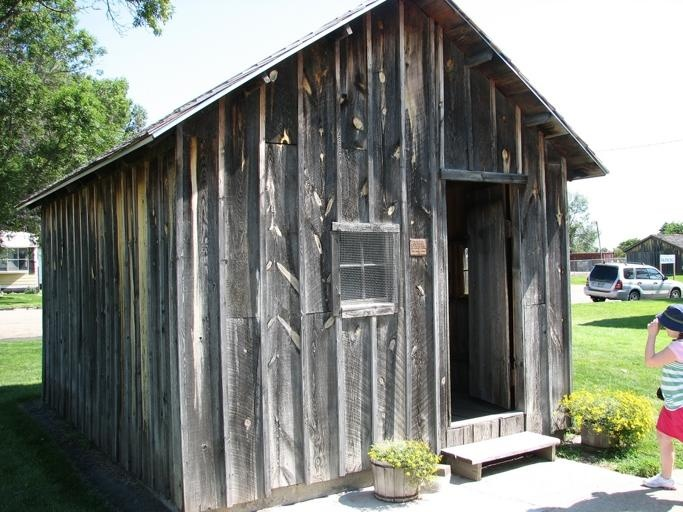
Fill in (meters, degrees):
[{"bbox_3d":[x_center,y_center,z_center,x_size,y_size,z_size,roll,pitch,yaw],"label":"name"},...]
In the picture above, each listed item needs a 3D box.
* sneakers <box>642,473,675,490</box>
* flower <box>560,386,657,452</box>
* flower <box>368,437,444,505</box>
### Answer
[{"bbox_3d":[3.919,2.815,8.109,0.329,0.196,0.155,-2,-5,26],"label":"sneakers"},{"bbox_3d":[3.819,2.172,9.502,0.902,0.620,0.842,2,-1,-35],"label":"flower"},{"bbox_3d":[0.791,2.613,8.080,0.641,0.628,0.653,-3,-9,32],"label":"flower"}]
